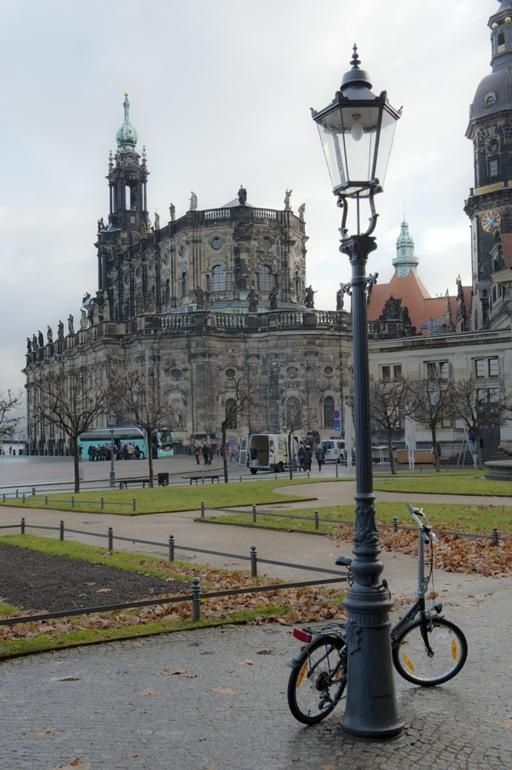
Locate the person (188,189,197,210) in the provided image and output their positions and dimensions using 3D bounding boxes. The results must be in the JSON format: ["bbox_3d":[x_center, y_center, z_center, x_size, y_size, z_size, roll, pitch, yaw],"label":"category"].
[{"bbox_3d":[-4.628,-13.610,85.738,0.432,1.413,0.950,-3,-4,-9],"label":"person"}]

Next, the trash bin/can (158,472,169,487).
[{"bbox_3d":[-3.446,3.433,42.252,0.382,0.541,0.549,-2,-3,22],"label":"trash bin/can"}]

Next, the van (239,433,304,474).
[{"bbox_3d":[0.820,3.182,56.081,1.489,1.518,2.939,-1,2,30],"label":"van"}]

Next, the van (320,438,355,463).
[{"bbox_3d":[4.021,3.667,64.212,1.896,1.132,1.202,-5,3,-37],"label":"van"}]
